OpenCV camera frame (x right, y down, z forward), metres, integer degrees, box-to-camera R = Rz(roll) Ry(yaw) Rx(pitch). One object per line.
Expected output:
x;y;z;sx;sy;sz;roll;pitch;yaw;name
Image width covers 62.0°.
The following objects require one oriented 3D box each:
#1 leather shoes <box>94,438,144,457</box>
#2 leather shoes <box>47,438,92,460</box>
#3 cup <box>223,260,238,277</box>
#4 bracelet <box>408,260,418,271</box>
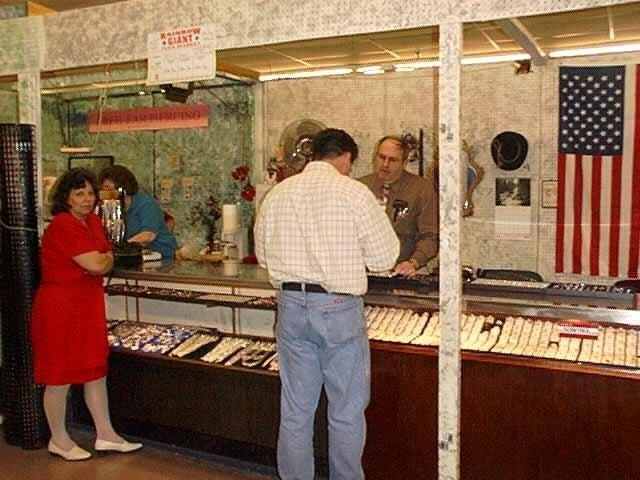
-1.440;1.459;3.815;0.350;0.108;0.127;1;2;-12;leather shoes
-1.734;1.472;3.747;0.317;0.127;0.122;4;-1;3;leather shoes
-0.673;0.211;3.946;0.111;0.119;0.110;0;5;0;cup
0.556;0.146;3.167;0.042;0.052;0.055;-11;-3;6;bracelet
